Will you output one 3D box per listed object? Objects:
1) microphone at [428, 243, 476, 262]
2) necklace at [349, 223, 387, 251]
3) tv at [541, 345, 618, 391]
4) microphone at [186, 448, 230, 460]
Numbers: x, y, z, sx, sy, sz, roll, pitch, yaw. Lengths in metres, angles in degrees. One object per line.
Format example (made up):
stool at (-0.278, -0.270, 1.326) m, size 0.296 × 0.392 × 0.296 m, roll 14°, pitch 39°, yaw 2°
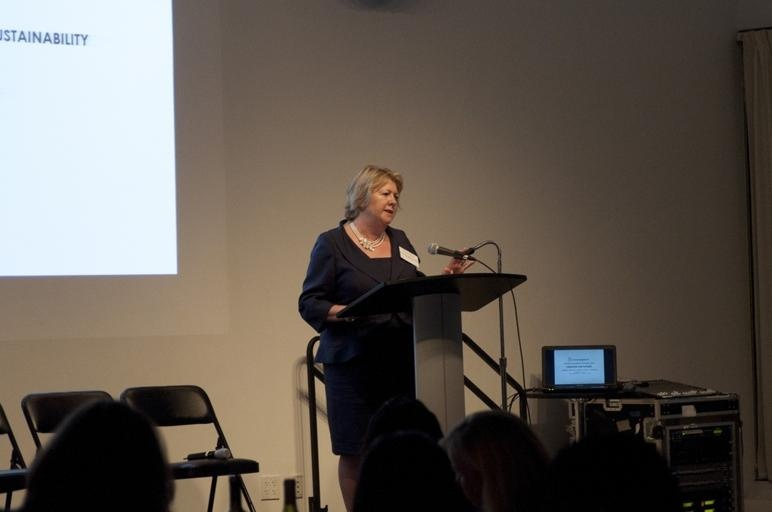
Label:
microphone at (0.412, -0.022, 4.943) m, size 0.262 × 0.082 × 0.080 m, roll 10°, pitch -51°, yaw -1°
necklace at (-0.111, -0.117, 4.303) m, size 0.137 × 0.175 × 0.056 m, roll -24°, pitch -9°, yaw -23°
tv at (1.343, 0.774, 5.442) m, size 0.416 × 0.320 × 0.282 m, roll 0°, pitch -3°, yaw 3°
microphone at (-1.107, 1.230, 4.759) m, size 0.271 × 0.069 × 0.182 m, roll 0°, pitch -8°, yaw -6°
